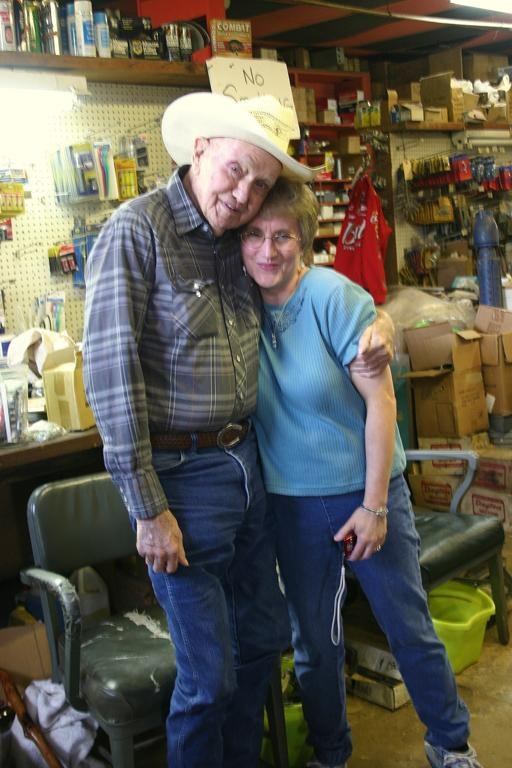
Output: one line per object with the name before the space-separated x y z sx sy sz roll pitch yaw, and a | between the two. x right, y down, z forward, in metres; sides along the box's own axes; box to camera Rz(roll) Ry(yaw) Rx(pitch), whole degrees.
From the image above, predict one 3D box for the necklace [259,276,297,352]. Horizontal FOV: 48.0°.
necklace | 0.045 -0.136 1.189 0.066 0.115 0.077 1 24 4
